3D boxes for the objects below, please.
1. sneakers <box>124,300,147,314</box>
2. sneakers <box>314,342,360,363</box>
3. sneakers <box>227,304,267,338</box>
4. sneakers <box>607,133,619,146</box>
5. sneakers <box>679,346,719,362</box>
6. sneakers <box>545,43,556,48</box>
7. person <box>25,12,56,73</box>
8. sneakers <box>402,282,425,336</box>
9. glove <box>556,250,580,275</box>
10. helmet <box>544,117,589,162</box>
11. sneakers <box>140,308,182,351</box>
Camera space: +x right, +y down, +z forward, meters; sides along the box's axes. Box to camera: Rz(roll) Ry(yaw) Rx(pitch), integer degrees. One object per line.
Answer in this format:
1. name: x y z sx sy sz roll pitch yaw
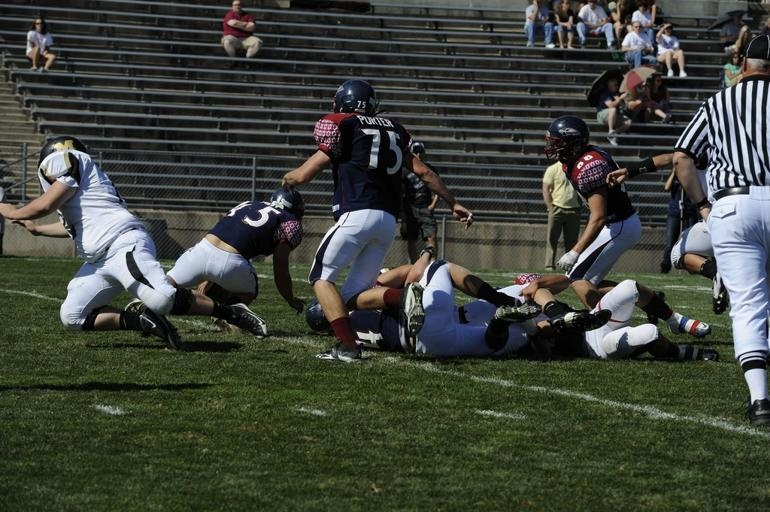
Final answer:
1. sneakers: -2.813 0.573 15.519 0.271 0.087 0.221 -5 5 -38
2. sneakers: -0.560 1.037 14.672 0.522 0.189 0.184 1 -1 16
3. sneakers: -1.519 0.693 15.245 0.214 0.183 0.524 -35 31 -15
4. sneakers: 4.018 -2.049 24.423 0.101 0.117 0.277 -19 43 -11
5. sneakers: 3.375 1.059 14.908 0.473 0.171 0.170 2 10 -4
6. sneakers: 3.080 -3.911 25.876 0.176 0.071 0.080 5 12 33
7. person: -6.034 -3.647 24.040 0.517 0.900 0.526 2 8 -6
8. sneakers: 0.263 0.555 14.496 0.218 0.521 0.255 4 -7 -22
9. glove: 2.049 0.080 15.485 0.285 0.089 0.199 -36 22 -12
10. helmet: 2.066 -1.355 15.646 0.563 0.437 0.419 -8 18 3
11. sneakers: -2.460 0.799 14.915 0.499 0.171 0.208 31 21 -13
